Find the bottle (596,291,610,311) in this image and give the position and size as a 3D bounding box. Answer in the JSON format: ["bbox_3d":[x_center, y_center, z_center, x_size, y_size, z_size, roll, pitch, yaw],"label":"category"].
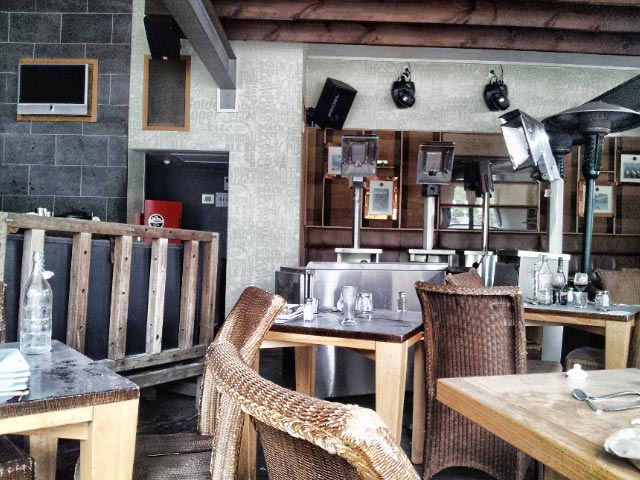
[{"bbox_3d":[1.917,0.411,4.427,0.111,0.121,0.084,0,1,-27],"label":"bottle"}]

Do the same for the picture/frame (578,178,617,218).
[{"bbox_3d":[3.173,-0.472,7.451,0.589,0.612,0.045,0,1,-3],"label":"picture/frame"}]

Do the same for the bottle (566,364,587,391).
[{"bbox_3d":[1.171,0.623,3.021,0.096,0.118,0.095,-1,2,-39],"label":"bottle"}]

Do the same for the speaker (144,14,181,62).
[{"bbox_3d":[-1.470,-1.860,6.061,0.320,0.275,0.502,1,1,-12],"label":"speaker"}]

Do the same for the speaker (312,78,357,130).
[{"bbox_3d":[0.147,-1.639,7.875,0.310,0.594,0.428,31,9,31],"label":"speaker"}]

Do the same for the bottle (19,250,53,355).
[{"bbox_3d":[-1.403,0.299,3.211,0.145,0.475,0.253,0,2,-25],"label":"bottle"}]

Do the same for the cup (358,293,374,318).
[{"bbox_3d":[0.287,0.420,4.270,0.138,0.154,0.088,0,-2,2],"label":"cup"}]

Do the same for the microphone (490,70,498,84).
[{"bbox_3d":[2.123,-1.962,7.936,0.125,0.152,0.102,1,1,2],"label":"microphone"}]

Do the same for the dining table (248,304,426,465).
[{"bbox_3d":[0.181,0.751,4.142,0.916,0.954,0.967,-1,-5,16],"label":"dining table"}]

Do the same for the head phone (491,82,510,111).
[{"bbox_3d":[2.163,-1.684,7.862,0.196,0.325,0.155,3,6,-13],"label":"head phone"}]

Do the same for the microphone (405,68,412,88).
[{"bbox_3d":[1.066,-1.952,7.934,0.066,0.190,0.128,2,10,15],"label":"microphone"}]

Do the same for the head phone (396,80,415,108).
[{"bbox_3d":[1.038,-1.740,7.960,0.210,0.287,0.316,2,1,26],"label":"head phone"}]

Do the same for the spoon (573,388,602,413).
[{"bbox_3d":[1.156,0.686,2.835,0.087,0.067,0.162,1,1,-9],"label":"spoon"}]

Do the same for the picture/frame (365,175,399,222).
[{"bbox_3d":[0.795,-0.544,8.473,0.519,0.702,0.075,2,-1,-3],"label":"picture/frame"}]
